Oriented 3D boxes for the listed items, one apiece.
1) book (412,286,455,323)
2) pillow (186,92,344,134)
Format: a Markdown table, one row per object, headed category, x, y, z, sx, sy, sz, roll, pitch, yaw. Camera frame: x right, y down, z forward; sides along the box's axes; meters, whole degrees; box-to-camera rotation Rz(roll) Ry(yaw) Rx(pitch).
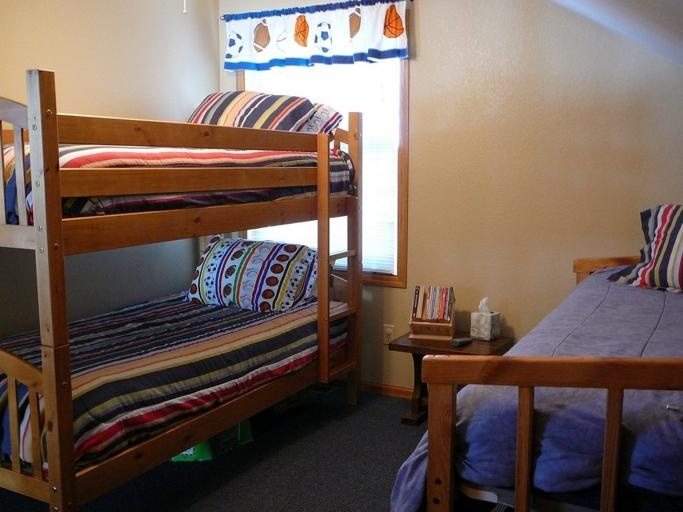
| category | x | y | z | sx | sy | sz | roll | pitch | yaw |
| --- | --- | --- | --- | --- | --- | --- | --- | --- | --- |
| book | 0.524 | 0.278 | 3.121 | 0.178 | 0.231 | 0.076 | 1 | -15 | 9 |
| pillow | -0.494 | -0.834 | 3.090 | 0.689 | 0.214 | 0.432 | 8 | 30 | 21 |
